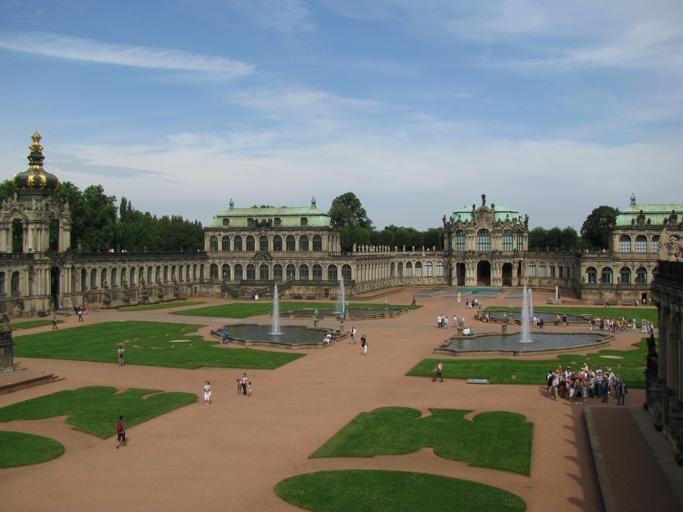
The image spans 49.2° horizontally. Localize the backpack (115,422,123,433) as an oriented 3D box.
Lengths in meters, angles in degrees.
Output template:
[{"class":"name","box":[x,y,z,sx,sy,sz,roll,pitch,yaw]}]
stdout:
[{"class":"backpack","box":[-14.679,11.166,48.910,0.409,0.850,0.626,-3,7,-23]}]
